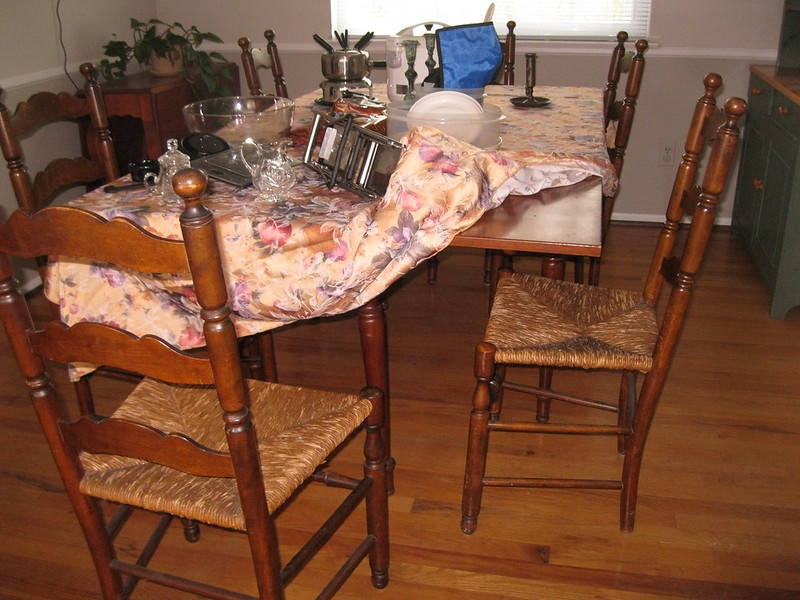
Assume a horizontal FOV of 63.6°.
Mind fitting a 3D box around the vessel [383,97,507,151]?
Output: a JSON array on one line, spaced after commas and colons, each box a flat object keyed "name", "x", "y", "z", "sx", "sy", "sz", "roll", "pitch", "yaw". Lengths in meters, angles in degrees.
[{"name": "vessel", "x": 0.151, "y": -0.486, "z": 1.767, "sx": 0.246, "sy": 0.072, "sz": 0.218, "roll": 1, "pitch": 29, "yaw": 2}]

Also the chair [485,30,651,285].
[{"name": "chair", "x": 0.682, "y": -0.611, "z": 2.532, "sx": 0.435, "sy": 0.810, "sz": 0.347, "roll": 3, "pitch": 38, "yaw": 3}]
